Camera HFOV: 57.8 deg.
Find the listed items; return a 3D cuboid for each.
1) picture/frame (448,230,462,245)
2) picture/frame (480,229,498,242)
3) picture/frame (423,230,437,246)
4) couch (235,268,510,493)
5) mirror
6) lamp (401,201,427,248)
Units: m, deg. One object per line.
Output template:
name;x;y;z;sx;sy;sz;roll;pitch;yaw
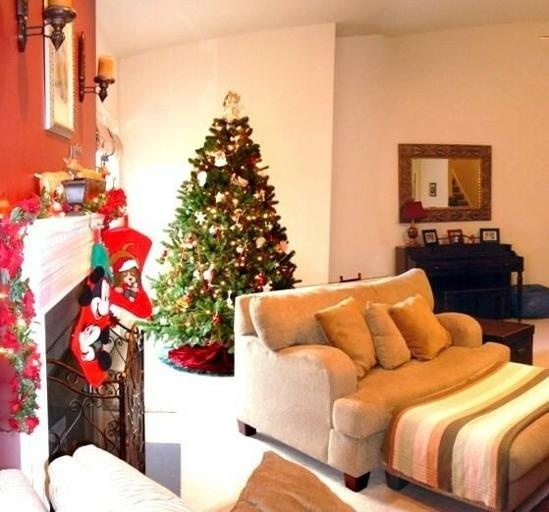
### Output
picture/frame;2.224;-0.229;6.143;0.169;0.168;0.012;10;-19;-17
picture/frame;2.700;-0.269;6.251;0.153;0.130;0.016;-1;1;-2
picture/frame;1.887;-0.225;6.034;0.173;0.170;0.017;5;-15;-22
couch;0.463;0.595;2.816;1.443;0.897;0.977;-4;2;-43
mirror;2.059;-0.943;6.165;1.017;0.807;0.045;-2;2;-14
lamp;1.664;-0.410;5.996;0.286;0.523;0.415;3;9;14
